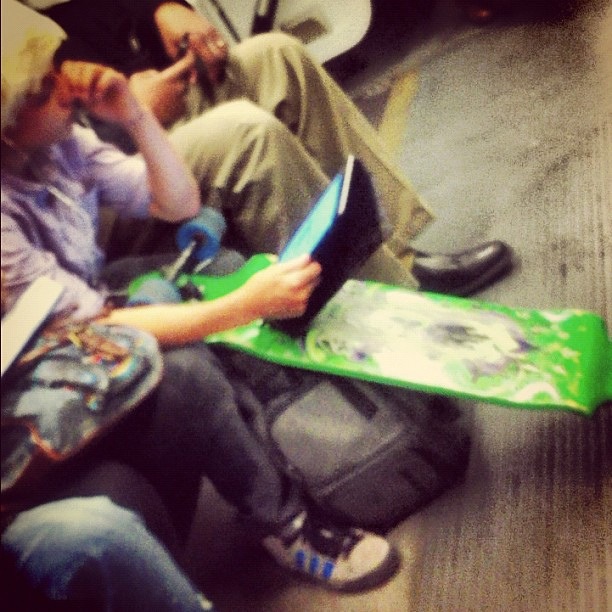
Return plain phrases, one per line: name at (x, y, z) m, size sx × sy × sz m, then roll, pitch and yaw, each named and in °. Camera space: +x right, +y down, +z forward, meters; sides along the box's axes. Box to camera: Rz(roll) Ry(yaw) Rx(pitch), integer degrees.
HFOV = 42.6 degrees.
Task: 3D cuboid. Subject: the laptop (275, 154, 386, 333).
laptop at (0.123, -0.170, 2.724) m, size 0.590 × 0.158 × 0.361 m, roll -55°, pitch 35°, yaw 28°
